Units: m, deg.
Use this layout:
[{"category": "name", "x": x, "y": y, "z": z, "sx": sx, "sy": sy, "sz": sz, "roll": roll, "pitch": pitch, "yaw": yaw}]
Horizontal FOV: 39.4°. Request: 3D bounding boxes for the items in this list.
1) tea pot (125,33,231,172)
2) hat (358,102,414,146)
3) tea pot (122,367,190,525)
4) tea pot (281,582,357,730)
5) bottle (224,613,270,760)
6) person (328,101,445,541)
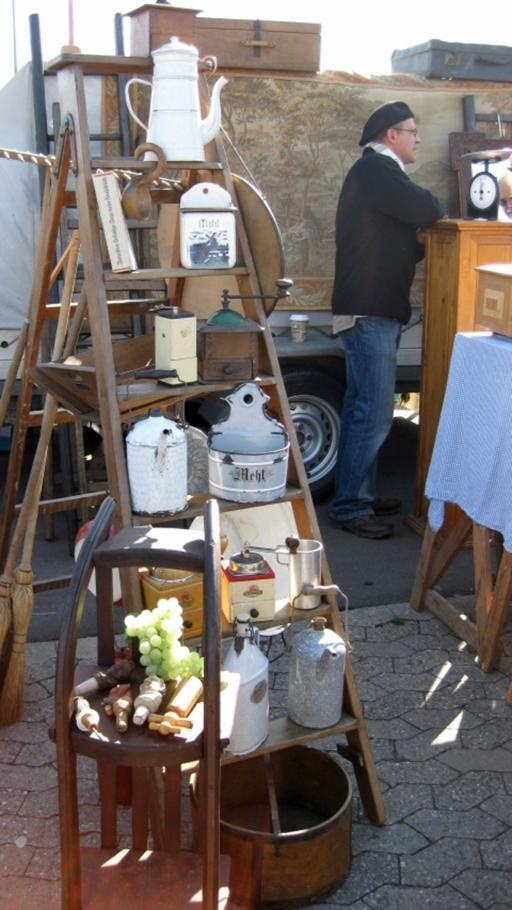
[{"category": "tea pot", "x": -0.218, "y": -0.996, "z": 2.022, "sx": 0.235, "sy": 0.353, "sz": 0.284, "roll": -3, "pitch": 12, "yaw": -15}, {"category": "hat", "x": 0.762, "y": -1.950, "z": 4.234, "sx": 0.283, "sy": 0.114, "sz": 0.203, "roll": -32, "pitch": 17, "yaw": 26}, {"category": "tea pot", "x": -0.258, "y": 0.022, "z": 1.886, "sx": 0.143, "sy": 0.250, "sz": 0.145, "roll": 2, "pitch": 12, "yaw": 0}, {"category": "tea pot", "x": 0.280, "y": 0.585, "z": 2.128, "sx": 0.218, "sy": 0.405, "sz": 0.391, "roll": 11, "pitch": 19, "yaw": -1}, {"category": "bottle", "x": -0.029, "y": 0.604, "z": 1.898, "sx": 0.108, "sy": 0.384, "sz": 0.165, "roll": 2, "pitch": 12, "yaw": 8}, {"category": "person", "x": 0.689, "y": -0.833, "z": 4.264, "sx": 0.662, "sy": 2.655, "sz": 0.714, "roll": -1, "pitch": 5, "yaw": -17}]
